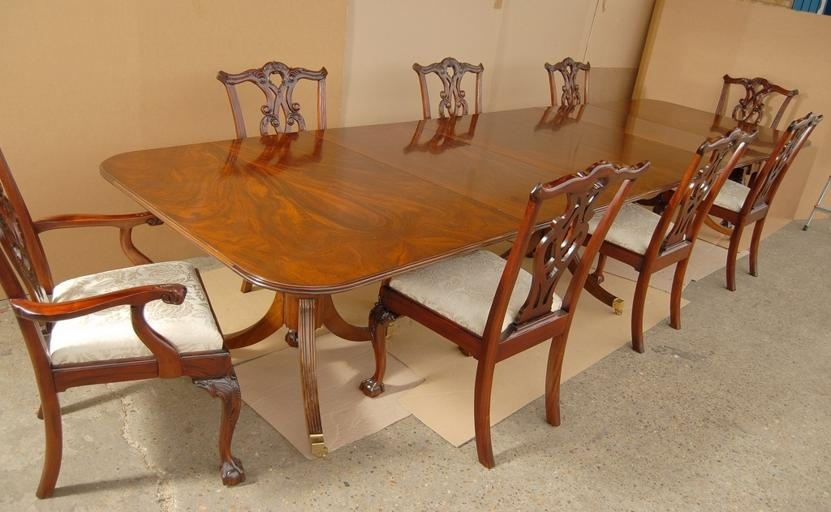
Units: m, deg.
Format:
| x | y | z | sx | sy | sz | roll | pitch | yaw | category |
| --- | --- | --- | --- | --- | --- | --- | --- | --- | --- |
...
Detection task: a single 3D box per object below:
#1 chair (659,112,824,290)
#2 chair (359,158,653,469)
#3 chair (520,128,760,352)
| x | y | z | sx | sy | sz | roll | pitch | yaw | category |
| --- | --- | --- | --- | --- | --- | --- | --- | --- | --- |
| 2.283 | -0.377 | 3.944 | 0.793 | 1.423 | 0.704 | -35 | 55 | -22 | chair |
| 0.357 | 0.184 | 2.660 | 0.861 | 1.345 | 0.940 | -11 | 25 | -32 | chair |
| 1.342 | -0.159 | 3.322 | 0.872 | 1.260 | 0.833 | 17 | 25 | 31 | chair |
